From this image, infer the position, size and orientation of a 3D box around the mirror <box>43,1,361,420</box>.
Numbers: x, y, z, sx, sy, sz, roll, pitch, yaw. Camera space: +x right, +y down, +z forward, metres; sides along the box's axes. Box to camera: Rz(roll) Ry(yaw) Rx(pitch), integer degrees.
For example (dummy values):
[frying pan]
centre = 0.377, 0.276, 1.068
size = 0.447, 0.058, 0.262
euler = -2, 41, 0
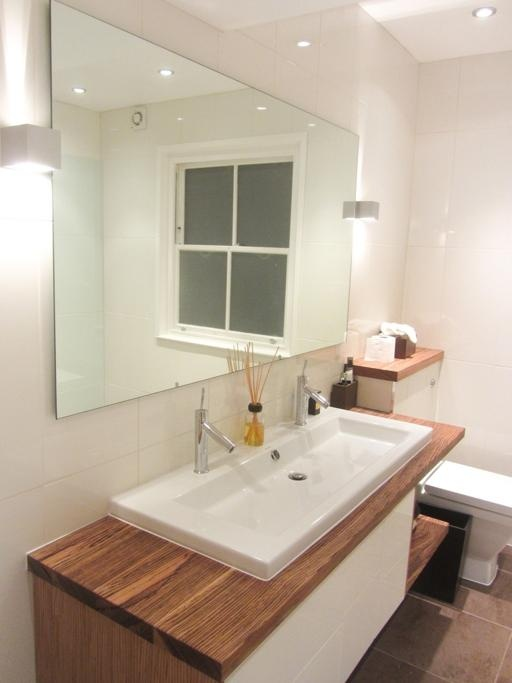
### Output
[mirror]
centre = -0.080, -0.346, 1.487
size = 0.087, 0.963, 1.259
euler = 4, 5, 30

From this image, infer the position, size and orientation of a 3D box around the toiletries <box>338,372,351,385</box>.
[toiletries]
centre = 0.422, 0.172, 2.363
size = 0.056, 0.066, 0.033
euler = -2, 12, -14

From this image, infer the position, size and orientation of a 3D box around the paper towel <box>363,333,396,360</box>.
[paper towel]
centre = 0.613, 0.018, 2.536
size = 0.115, 0.133, 0.120
euler = 5, 15, 17

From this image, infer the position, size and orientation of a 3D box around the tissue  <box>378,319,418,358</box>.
[tissue ]
centre = 0.772, -0.037, 2.757
size = 0.174, 0.194, 0.173
euler = 9, 13, 43
